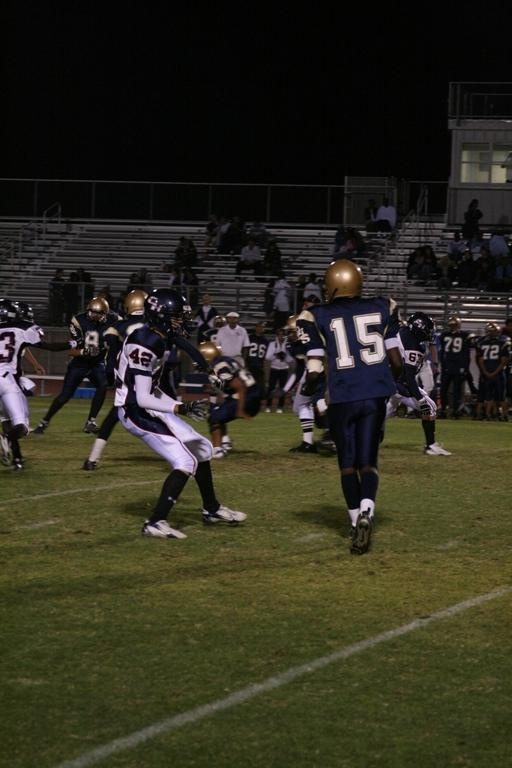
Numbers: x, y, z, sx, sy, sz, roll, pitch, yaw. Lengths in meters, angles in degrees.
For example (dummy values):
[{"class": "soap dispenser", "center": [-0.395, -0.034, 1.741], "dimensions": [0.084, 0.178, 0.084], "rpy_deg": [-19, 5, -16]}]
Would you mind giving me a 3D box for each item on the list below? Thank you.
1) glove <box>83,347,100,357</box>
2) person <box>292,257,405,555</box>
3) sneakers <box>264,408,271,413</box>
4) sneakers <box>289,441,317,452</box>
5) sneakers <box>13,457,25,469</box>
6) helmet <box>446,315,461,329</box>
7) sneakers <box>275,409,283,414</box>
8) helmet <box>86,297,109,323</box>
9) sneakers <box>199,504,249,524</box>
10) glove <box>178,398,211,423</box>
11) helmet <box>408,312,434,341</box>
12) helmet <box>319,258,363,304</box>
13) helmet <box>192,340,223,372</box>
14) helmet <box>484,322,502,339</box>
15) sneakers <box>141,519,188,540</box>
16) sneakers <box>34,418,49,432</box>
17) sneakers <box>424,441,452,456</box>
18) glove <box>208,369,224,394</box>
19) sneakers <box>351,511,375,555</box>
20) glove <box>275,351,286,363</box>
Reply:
[{"class": "glove", "center": [-2.280, -0.460, 10.788], "dimensions": [0.167, 0.053, 0.159], "rpy_deg": [-6, 12, -34]}, {"class": "person", "center": [0.629, 0.125, 5.347], "dimensions": [0.676, 1.998, 0.639], "rpy_deg": [1, 2, 15]}, {"class": "sneakers", "center": [0.244, 0.575, 17.482], "dimensions": [0.088, 0.091, 0.263], "rpy_deg": [-3, 3, -1]}, {"class": "sneakers", "center": [0.608, 0.832, 10.433], "dimensions": [0.414, 0.145, 0.135], "rpy_deg": [3, -2, -5]}, {"class": "sneakers", "center": [-2.600, 0.863, 8.523], "dimensions": [0.140, 0.117, 0.093], "rpy_deg": [2, -8, -29]}, {"class": "helmet", "center": [4.168, -1.276, 16.451], "dimensions": [0.211, 0.217, 0.369], "rpy_deg": [1, 2, 22]}, {"class": "sneakers", "center": [0.491, 0.587, 17.135], "dimensions": [0.087, 0.079, 0.219], "rpy_deg": [-1, -5, 6]}, {"class": "helmet", "center": [-2.189, -1.024, 10.781], "dimensions": [0.272, 0.328, 0.394], "rpy_deg": [0, 2, -14]}, {"class": "sneakers", "center": [-0.249, 1.002, 6.021], "dimensions": [0.380, 0.152, 0.135], "rpy_deg": [-1, 5, -1]}, {"class": "glove", "center": [-0.444, 0.183, 5.532], "dimensions": [0.216, 0.137, 0.349], "rpy_deg": [0, 2, 2]}, {"class": "helmet", "center": [2.152, -0.750, 10.174], "dimensions": [0.309, 0.379, 0.395], "rpy_deg": [0, 2, -3]}, {"class": "helmet", "center": [0.603, -0.748, 5.613], "dimensions": [0.263, 0.260, 0.322], "rpy_deg": [1, 26, 3]}, {"class": "helmet", "center": [-0.551, -0.332, 9.449], "dimensions": [0.340, 0.357, 0.402], "rpy_deg": [5, -4, 15]}, {"class": "helmet", "center": [4.921, -1.115, 16.267], "dimensions": [0.309, 0.323, 0.341], "rpy_deg": [-3, 8, 9]}, {"class": "sneakers", "center": [-0.662, 1.032, 5.578], "dimensions": [0.347, 0.134, 0.121], "rpy_deg": [5, 7, -3]}, {"class": "sneakers", "center": [-3.379, 0.645, 12.239], "dimensions": [0.218, 0.193, 0.108], "rpy_deg": [-7, -22, 32]}, {"class": "sneakers", "center": [2.381, 0.858, 10.392], "dimensions": [0.418, 0.160, 0.130], "rpy_deg": [0, 9, 14]}, {"class": "glove", "center": [-0.383, -0.033, 7.371], "dimensions": [0.106, 0.271, 0.135], "rpy_deg": [-15, 6, -35]}, {"class": "sneakers", "center": [0.701, 0.956, 5.228], "dimensions": [0.132, 0.148, 0.353], "rpy_deg": [1, 5, 7]}, {"class": "glove", "center": [0.540, -0.609, 17.498], "dimensions": [0.211, 0.201, 0.098], "rpy_deg": [0, 2, -9]}]
